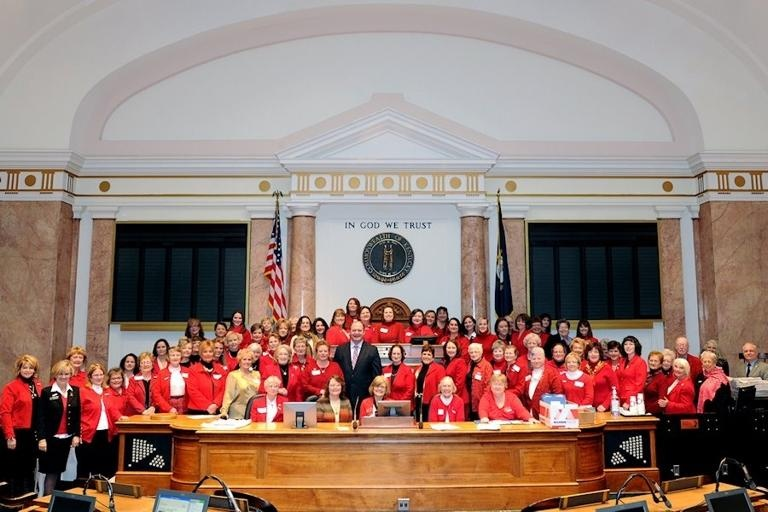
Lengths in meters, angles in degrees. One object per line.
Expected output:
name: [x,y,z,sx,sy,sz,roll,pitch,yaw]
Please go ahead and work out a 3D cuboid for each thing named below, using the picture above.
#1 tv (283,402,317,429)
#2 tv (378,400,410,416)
tv: [-1.463,2.787,15.788,0.751,0.619,0.369,1,-8,-1]
tv: [0.185,2.681,15.617,0.528,0.403,0.252,2,26,-1]
